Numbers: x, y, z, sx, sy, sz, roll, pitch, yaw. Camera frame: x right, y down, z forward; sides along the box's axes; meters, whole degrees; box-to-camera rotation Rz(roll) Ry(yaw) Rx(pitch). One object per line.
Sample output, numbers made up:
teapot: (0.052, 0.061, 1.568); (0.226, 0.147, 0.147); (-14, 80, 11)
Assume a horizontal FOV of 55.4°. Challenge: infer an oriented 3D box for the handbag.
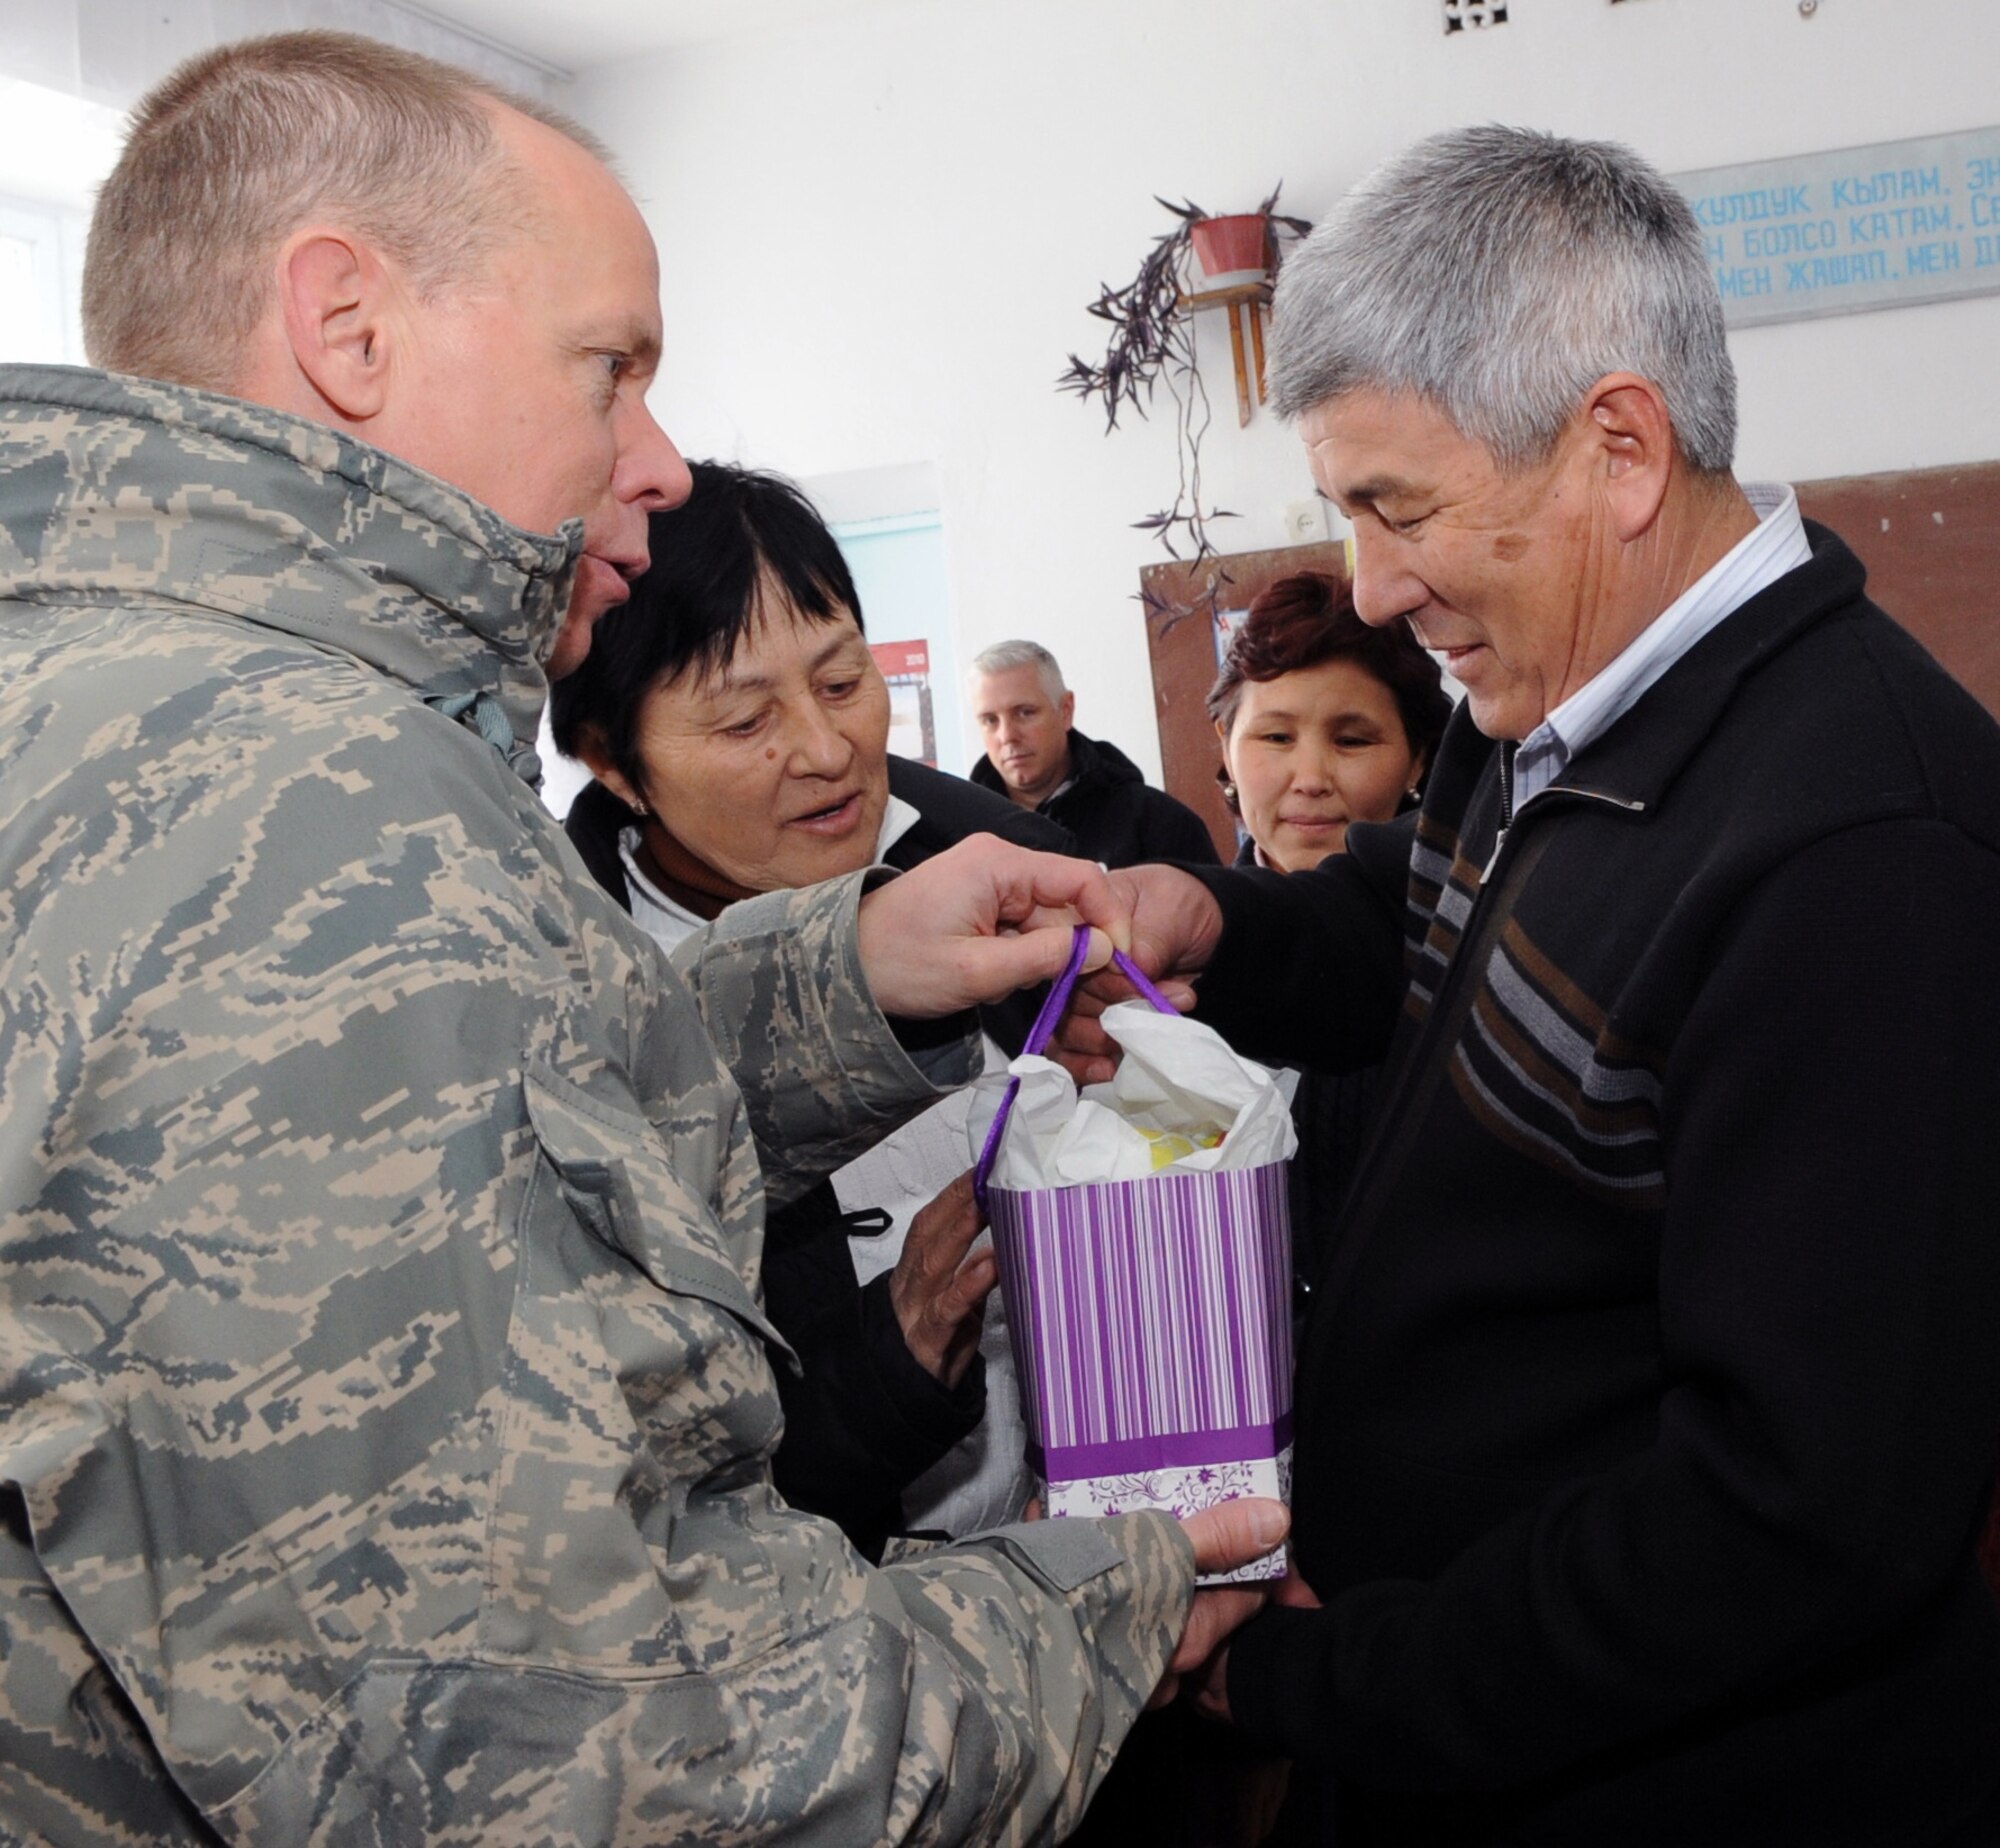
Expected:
handbag: (0.109, 0.307, 1.302); (0.180, 0.244, 0.166); (-3, -6, -9)
